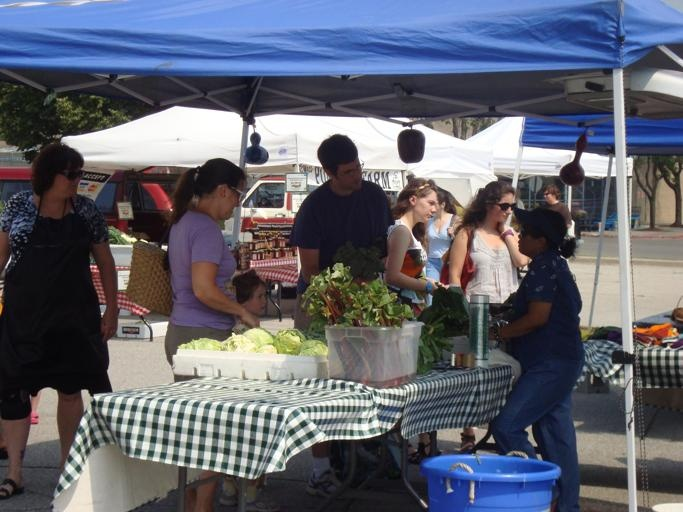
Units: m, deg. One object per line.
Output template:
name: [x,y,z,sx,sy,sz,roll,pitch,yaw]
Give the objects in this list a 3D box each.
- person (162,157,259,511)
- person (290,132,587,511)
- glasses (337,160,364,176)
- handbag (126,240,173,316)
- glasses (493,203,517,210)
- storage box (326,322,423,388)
person: [-0.739,0.414,4.617,0.735,1.909,0.668,1,1,7]
person: [0.197,0.307,5.384,1.194,2.878,1.038,0,1,-6]
glasses: [0.035,-0.599,5.034,0.134,0.041,0.133,-8,-5,37]
handbag: [-1.186,0.143,4.654,0.235,0.479,0.249,-13,17,-43]
glasses: [1.362,-0.415,6.259,0.151,0.049,0.153,4,1,40]
storage box: [0.153,0.454,3.863,0.393,0.316,0.429,5,8,33]
